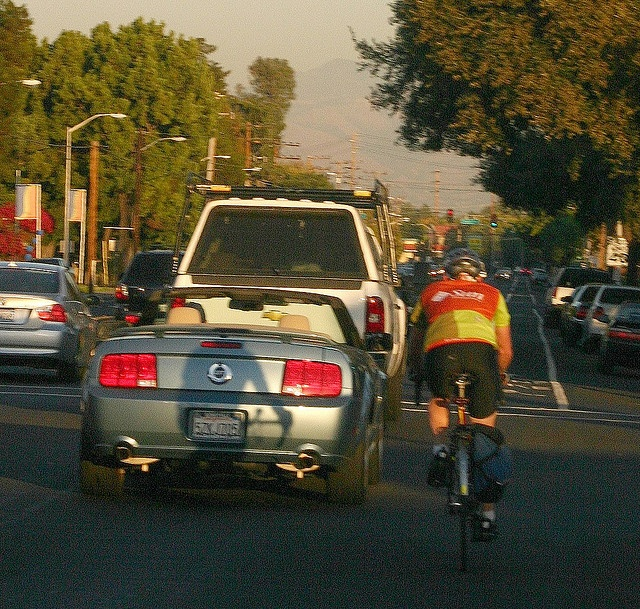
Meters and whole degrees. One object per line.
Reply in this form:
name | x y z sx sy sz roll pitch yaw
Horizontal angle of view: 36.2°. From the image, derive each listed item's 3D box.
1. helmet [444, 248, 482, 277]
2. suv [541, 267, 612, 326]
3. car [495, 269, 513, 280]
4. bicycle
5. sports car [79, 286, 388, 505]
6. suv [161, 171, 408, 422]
helmet | 0.878 -0.269 6.094 0.178 0.182 0.212 12 8 13
suv | 9.206 -0.466 35.422 1.700 1.327 3.240 1 6 5
car | 23.561 -3.844 125.387 1.366 0.851 2.817 1 8 17
bicycle | 0.835 0.923 5.431 0.474 1.036 0.893 2 3 7
sports car | -0.565 0.676 6.978 2.013 1.508 1.637 2 3 3
suv | -0.258 -0.329 9.730 1.820 1.681 2.985 2 7 7
